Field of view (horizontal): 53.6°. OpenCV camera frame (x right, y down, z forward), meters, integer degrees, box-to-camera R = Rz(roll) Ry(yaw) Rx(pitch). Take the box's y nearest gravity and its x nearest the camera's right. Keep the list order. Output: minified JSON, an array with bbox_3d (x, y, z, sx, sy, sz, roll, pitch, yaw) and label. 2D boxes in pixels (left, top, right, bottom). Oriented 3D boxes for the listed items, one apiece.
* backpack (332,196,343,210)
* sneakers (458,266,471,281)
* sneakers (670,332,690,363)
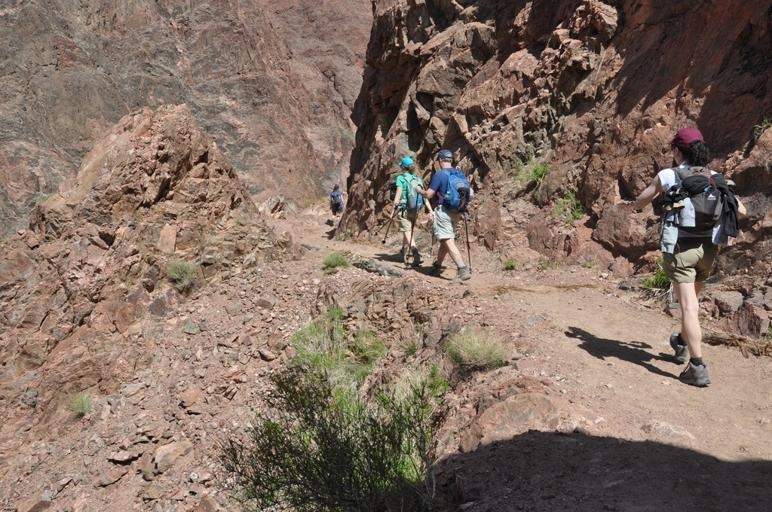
[{"bbox_3d":[-1.847,-2.018,29.453,0.310,0.434,0.227,-18,40,-24],"label":"backpack"},{"bbox_3d":[1.818,0.425,17.579,0.177,0.274,0.383,-9,20,-1],"label":"sneakers"},{"bbox_3d":[5.675,1.799,14.707,0.215,0.287,0.662,-2,36,14],"label":"sneakers"}]
